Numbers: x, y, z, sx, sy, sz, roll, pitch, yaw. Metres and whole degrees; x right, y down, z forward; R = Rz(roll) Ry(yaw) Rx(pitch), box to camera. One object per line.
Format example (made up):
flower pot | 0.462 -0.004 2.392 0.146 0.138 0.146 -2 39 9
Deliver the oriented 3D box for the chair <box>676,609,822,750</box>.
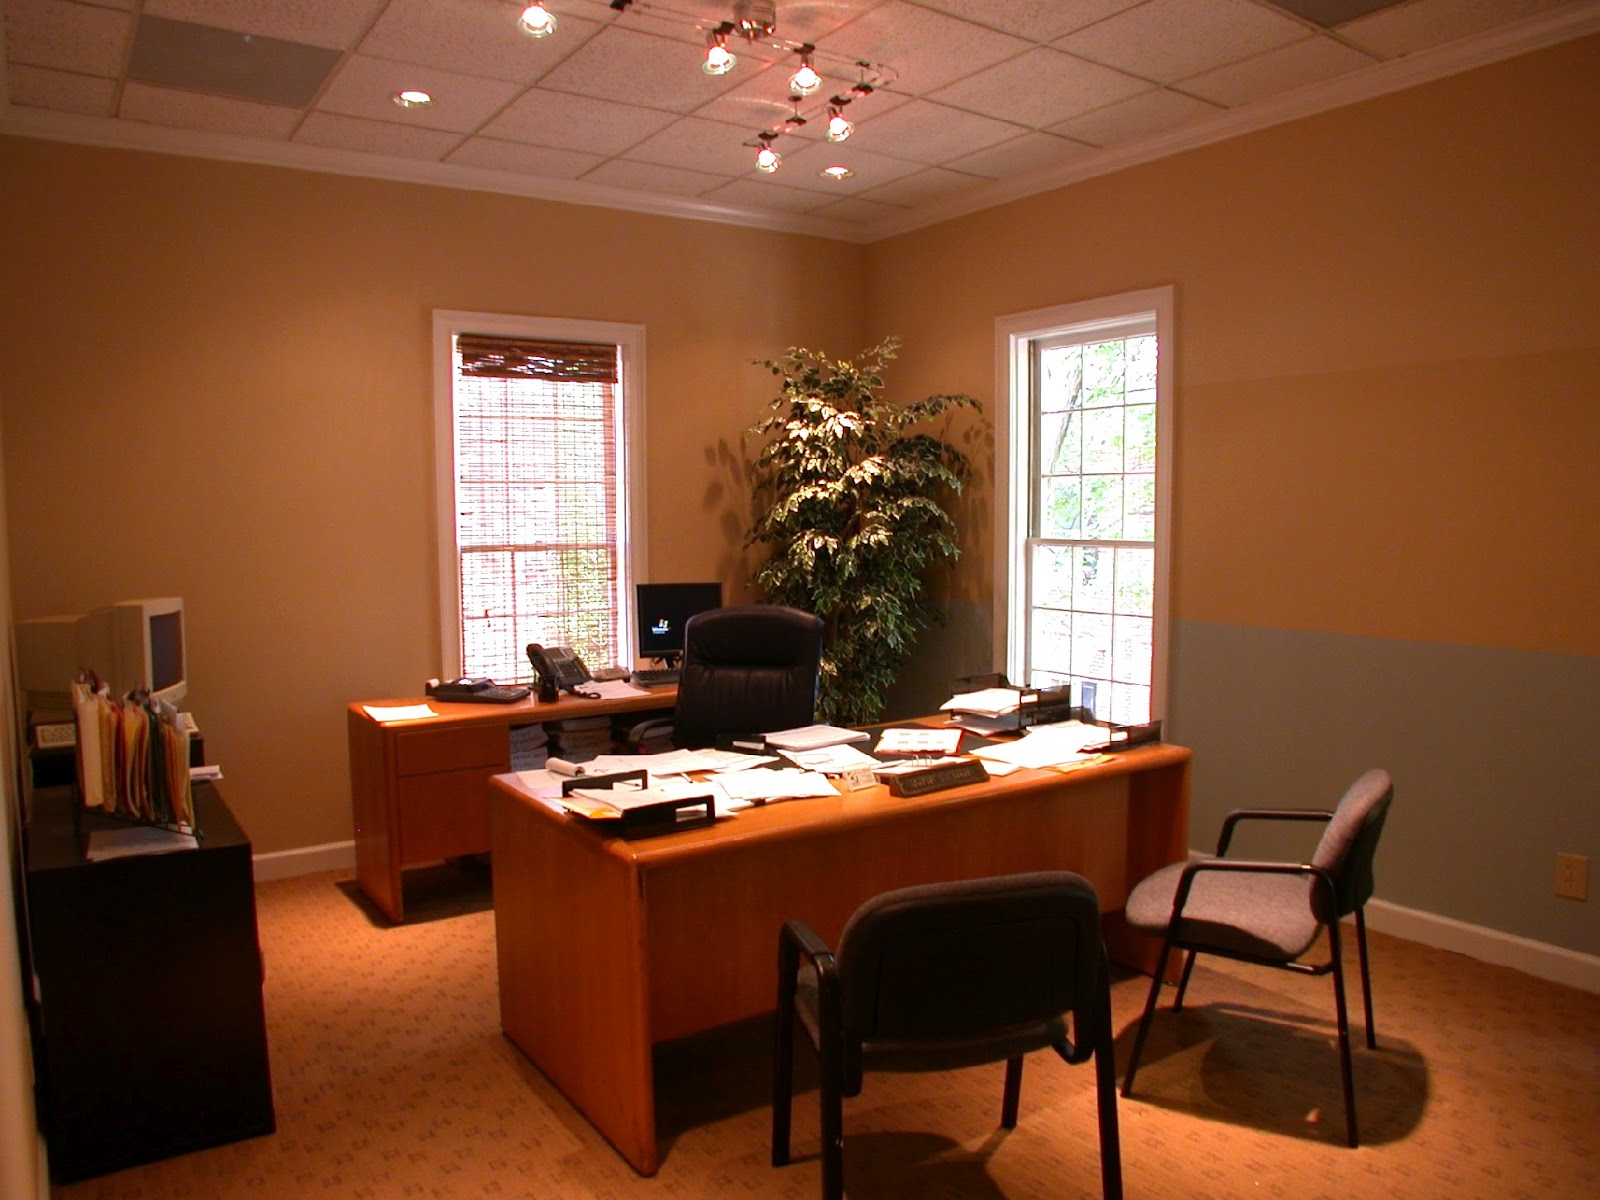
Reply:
chair | -0.208 0.325 5.123 0.484 0.775 0.614 1 1 6

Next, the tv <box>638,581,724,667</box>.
tv | -0.593 0.124 5.866 0.368 0.439 0.136 1 -3 -6

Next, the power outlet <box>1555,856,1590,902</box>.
power outlet | 2.891 1.041 4.496 0.111 0.177 0.018 2 5 38

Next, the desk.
desk | -1.984 1.183 3.612 0.341 0.603 1.079 -4 8 -21

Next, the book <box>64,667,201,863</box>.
book | -2.026 0.519 3.668 0.308 0.497 0.372 -4 5 -31

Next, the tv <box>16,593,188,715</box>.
tv | -2.783 0.166 4.873 0.560 0.551 0.580 2 5 -10
